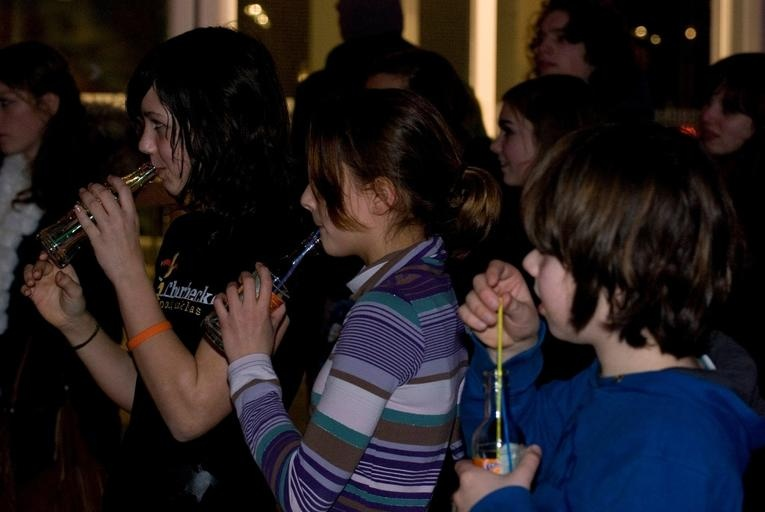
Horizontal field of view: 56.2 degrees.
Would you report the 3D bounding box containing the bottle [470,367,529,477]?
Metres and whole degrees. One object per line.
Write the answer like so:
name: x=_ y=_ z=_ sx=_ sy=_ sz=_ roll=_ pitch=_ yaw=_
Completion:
bottle: x=0.301 y=0.431 z=1.872 sx=0.132 sy=0.264 sz=0.079 roll=2 pitch=13 yaw=10
